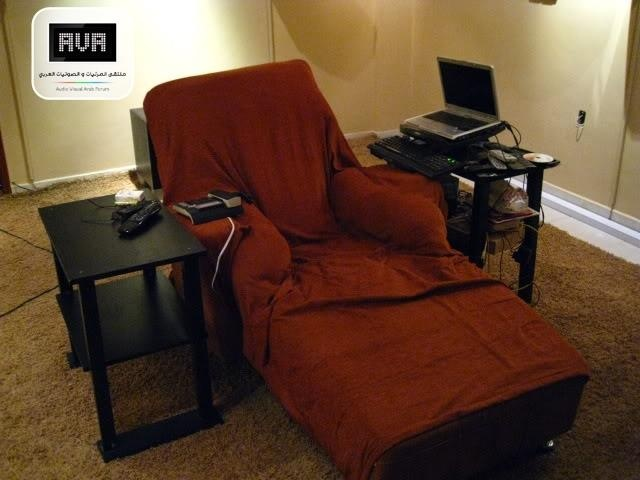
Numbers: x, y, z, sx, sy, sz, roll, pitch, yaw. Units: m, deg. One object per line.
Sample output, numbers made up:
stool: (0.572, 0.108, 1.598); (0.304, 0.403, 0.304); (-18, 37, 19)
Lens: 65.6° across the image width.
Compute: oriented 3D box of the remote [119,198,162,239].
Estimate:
remote: (-0.689, -0.089, 1.924); (0.070, 0.067, 0.190); (19, 33, 10)

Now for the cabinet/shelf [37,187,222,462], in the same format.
cabinet/shelf: (-0.726, 0.355, 1.953); (0.386, 0.616, 0.806); (-9, 23, -26)

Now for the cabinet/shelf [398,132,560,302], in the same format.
cabinet/shelf: (0.790, -0.183, 2.815); (0.698, 1.057, 0.726); (-8, 28, -10)

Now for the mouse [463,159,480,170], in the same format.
mouse: (0.709, -0.353, 2.332); (0.061, 0.019, 0.046); (-1, 39, 0)

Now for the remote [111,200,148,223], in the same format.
remote: (-0.762, -0.115, 2.020); (0.057, 0.045, 0.174); (21, 30, 24)

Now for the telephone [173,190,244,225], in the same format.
telephone: (-0.458, -0.139, 2.098); (0.184, 0.081, 0.174); (-15, 32, -29)

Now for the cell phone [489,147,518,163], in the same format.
cell phone: (0.878, -0.406, 2.395); (0.093, 0.029, 0.073); (31, 37, 30)

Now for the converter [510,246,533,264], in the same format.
converter: (1.020, 0.074, 2.508); (0.072, 0.074, 0.019); (37, 28, 32)
